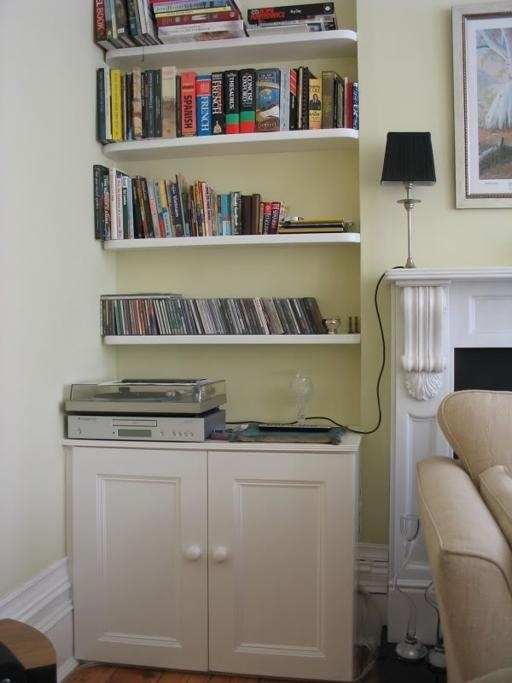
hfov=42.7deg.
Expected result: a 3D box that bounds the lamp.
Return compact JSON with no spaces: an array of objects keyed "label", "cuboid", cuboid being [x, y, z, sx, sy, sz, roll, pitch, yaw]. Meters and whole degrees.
[{"label":"lamp","cuboid":[0.553,-0.513,2.357,0.185,0.487,0.212,-2,7,15]}]

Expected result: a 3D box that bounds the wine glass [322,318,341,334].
[{"label":"wine glass","cuboid":[0.288,-0.058,2.485,0.060,0.048,0.059,0,-2,-2]}]

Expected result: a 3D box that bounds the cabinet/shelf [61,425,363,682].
[{"label":"cabinet/shelf","cuboid":[-0.133,0.723,2.159,0.822,0.666,0.320,0,-3,6]}]
